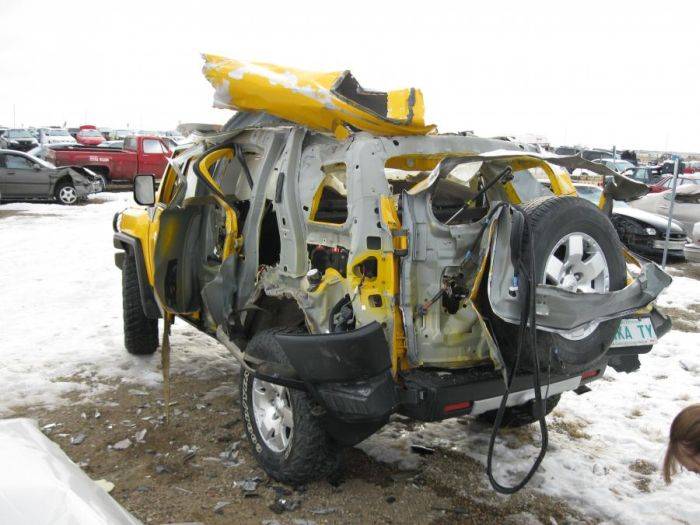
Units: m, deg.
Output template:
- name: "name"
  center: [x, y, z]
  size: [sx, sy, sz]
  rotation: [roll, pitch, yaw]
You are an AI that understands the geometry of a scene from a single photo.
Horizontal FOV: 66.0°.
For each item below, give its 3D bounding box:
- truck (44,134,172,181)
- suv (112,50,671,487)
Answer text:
- name: "truck"
  center: [-8.438, -3.828, 21.597]
  size: [5.046, 2.166, 2.683]
  rotation: [-5, 9, -16]
- name: "suv"
  center: [-0.213, -0.208, 5.094]
  size: [2.797, 2.355, 4.946]
  rotation: [-6, 18, -36]
